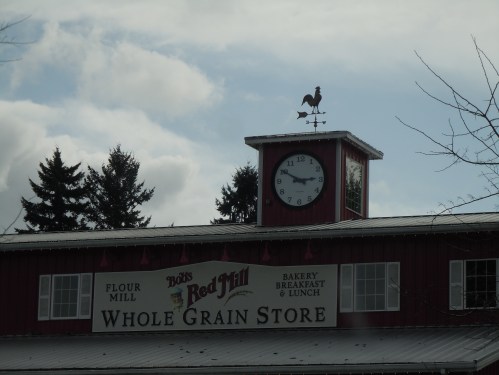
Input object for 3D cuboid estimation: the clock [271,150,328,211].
[{"bbox_3d":[1.840,-0.104,42.714,1.772,2.048,0.152,-4,-14,10],"label":"clock"}]
